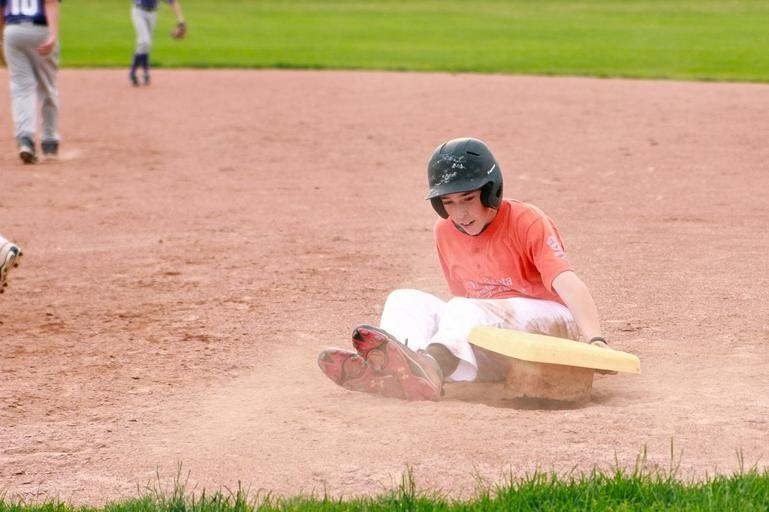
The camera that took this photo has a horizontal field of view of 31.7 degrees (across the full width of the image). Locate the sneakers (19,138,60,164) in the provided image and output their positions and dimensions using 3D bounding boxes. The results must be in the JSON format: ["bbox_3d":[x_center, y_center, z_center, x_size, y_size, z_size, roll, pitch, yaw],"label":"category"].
[{"bbox_3d":[-3.734,-1.148,14.589,0.196,0.217,0.550,1,10,11],"label":"sneakers"}]
